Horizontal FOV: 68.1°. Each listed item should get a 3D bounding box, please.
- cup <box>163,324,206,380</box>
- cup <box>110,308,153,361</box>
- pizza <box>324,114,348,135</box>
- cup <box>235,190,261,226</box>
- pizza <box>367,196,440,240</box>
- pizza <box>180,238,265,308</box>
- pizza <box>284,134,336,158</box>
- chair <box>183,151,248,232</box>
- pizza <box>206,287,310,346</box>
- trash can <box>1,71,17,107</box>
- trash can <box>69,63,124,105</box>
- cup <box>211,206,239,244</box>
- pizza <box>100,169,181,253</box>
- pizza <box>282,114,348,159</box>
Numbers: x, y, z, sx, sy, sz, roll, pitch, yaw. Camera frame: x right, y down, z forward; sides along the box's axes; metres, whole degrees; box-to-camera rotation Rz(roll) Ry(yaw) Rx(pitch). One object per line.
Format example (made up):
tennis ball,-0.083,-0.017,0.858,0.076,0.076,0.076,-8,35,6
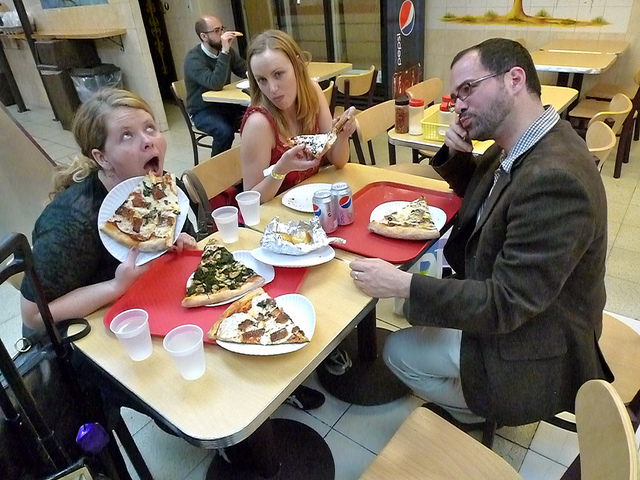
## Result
cup,-0.427,0.358,1.520,0.117,0.135,0.120,-2,29,1
cup,-0.627,0.321,1.578,0.088,0.099,0.090,-4,41,4
pizza,0.088,-0.568,2.393,0.072,0.086,0.199,5,31,12
cup,-0.314,-0.150,2.174,0.123,0.139,0.130,-5,26,3
pizza,0.398,-0.096,2.039,0.288,0.067,0.350,11,36,28
pizza,-0.342,0.126,1.817,0.279,0.061,0.369,8,39,-8
pizza,-0.009,-0.487,2.334,0.162,0.065,0.184,31,30,29
chair,-0.507,-0.241,2.371,0.276,0.409,0.237,38,63,25
pizza,-0.204,0.297,1.565,0.254,0.044,0.312,-27,39,-35
trash can,-5.427,-2.597,8.201,0.185,0.575,0.333,-20,34,-30
trash can,-2.936,-2.058,6.265,0.621,0.455,0.423,-11,31,-15
cup,-0.396,-0.068,2.022,0.102,0.140,0.093,-10,30,-14
pizza,-0.674,-0.138,1.893,0.246,0.080,0.462,13,44,-11
pizza,0.018,-0.516,2.339,0.235,0.068,0.277,28,64,38
